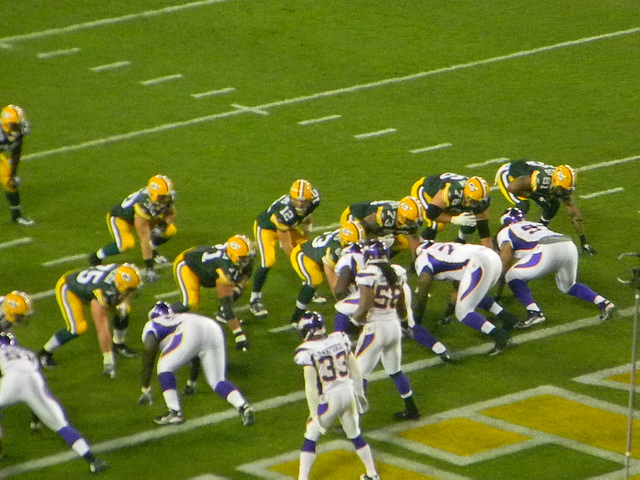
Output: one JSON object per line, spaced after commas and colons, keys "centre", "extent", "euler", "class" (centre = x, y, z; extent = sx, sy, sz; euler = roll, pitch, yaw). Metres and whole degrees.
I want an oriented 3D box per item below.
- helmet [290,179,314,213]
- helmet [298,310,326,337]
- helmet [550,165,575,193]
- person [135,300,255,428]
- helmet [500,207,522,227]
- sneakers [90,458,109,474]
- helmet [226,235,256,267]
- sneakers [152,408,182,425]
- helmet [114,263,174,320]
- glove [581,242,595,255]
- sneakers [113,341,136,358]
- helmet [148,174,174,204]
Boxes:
{"centre": [-0.238, -0.664, 16.010], "extent": [0.337, 0.377, 0.414], "euler": [0, 44, -3], "class": "helmet"}
{"centre": [-0.070, 0.904, 12.722], "extent": [0.246, 0.249, 0.290], "euler": [-2, 12, -21], "class": "helmet"}
{"centre": [3.493, -0.889, 16.488], "extent": [0.323, 0.346, 0.301], "euler": [12, 25, 42], "class": "helmet"}
{"centre": [-1.516, 1.456, 13.527], "extent": [1.246, 1.447, 0.734], "euler": [-6, 16, -5], "class": "person"}
{"centre": [2.586, -0.321, 15.742], "extent": [0.277, 0.261, 0.207], "euler": [26, -4, -6], "class": "helmet"}
{"centre": [-2.403, 2.448, 12.695], "extent": [0.204, 0.147, 0.084], "euler": [-35, 28, 33], "class": "sneakers"}
{"centre": [-1.022, 0.074, 14.793], "extent": [0.416, 0.351, 0.303], "euler": [21, 48, 19], "class": "helmet"}
{"centre": [-1.800, 2.041, 13.562], "extent": [0.432, 0.175, 0.141], "euler": [2, 7, 18], "class": "sneakers"}
{"centre": [-2.306, 0.561, 14.198], "extent": [0.299, 0.683, 0.421], "euler": [32, 17, -22], "class": "helmet"}
{"centre": [3.834, 0.131, 16.686], "extent": [0.189, 0.055, 0.181], "euler": [-22, -10, -25], "class": "glove"}
{"centre": [-2.491, 1.396, 14.838], "extent": [0.362, 0.141, 0.121], "euler": [19, 11, -5], "class": "sneakers"}
{"centre": [-2.237, -0.732, 16.250], "extent": [0.426, 0.391, 0.301], "euler": [11, 46, 10], "class": "helmet"}
